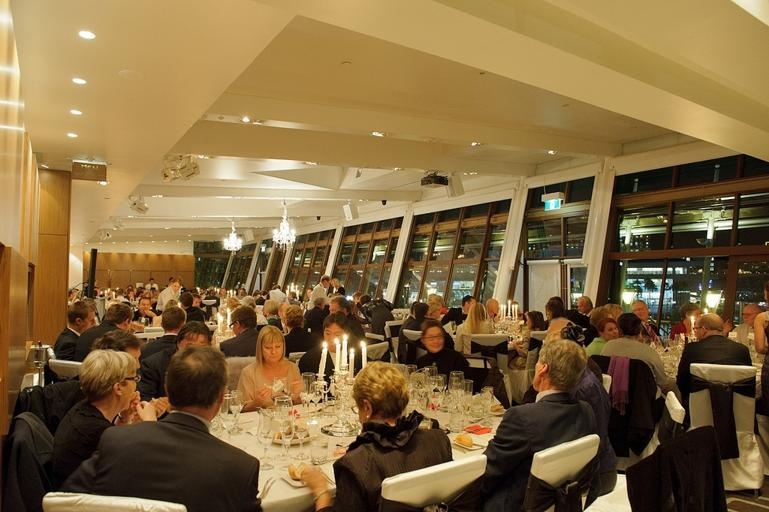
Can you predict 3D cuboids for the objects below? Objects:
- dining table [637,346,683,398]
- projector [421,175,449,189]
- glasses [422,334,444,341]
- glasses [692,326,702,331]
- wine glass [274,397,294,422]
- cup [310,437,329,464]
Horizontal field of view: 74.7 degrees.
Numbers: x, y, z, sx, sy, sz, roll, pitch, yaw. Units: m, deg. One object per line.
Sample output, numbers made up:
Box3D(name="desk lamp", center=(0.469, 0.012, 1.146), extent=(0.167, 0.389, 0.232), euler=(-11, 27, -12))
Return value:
Box3D(name="dining table", center=(3.021, 1.300, 5.542), extent=(0.184, 0.565, 0.432), euler=(-25, 16, -23))
Box3D(name="projector", center=(1.160, -1.710, 11.279), extent=(0.454, 0.276, 0.414), euler=(-2, -6, 37))
Box3D(name="glasses", center=(0.517, 0.856, 5.384), extent=(0.209, 0.065, 0.100), euler=(3, -5, 5))
Box3D(name="glasses", center=(3.850, 0.901, 6.202), extent=(0.117, 0.088, 0.096), euler=(1, -6, 19))
Box3D(name="wine glass", center=(-0.676, 1.080, 3.530), extent=(0.143, 0.144, 0.145), euler=(-2, -3, 7))
Box3D(name="cup", center=(-0.435, 1.316, 3.382), extent=(0.139, 0.153, 0.134), euler=(-1, 1, 0))
